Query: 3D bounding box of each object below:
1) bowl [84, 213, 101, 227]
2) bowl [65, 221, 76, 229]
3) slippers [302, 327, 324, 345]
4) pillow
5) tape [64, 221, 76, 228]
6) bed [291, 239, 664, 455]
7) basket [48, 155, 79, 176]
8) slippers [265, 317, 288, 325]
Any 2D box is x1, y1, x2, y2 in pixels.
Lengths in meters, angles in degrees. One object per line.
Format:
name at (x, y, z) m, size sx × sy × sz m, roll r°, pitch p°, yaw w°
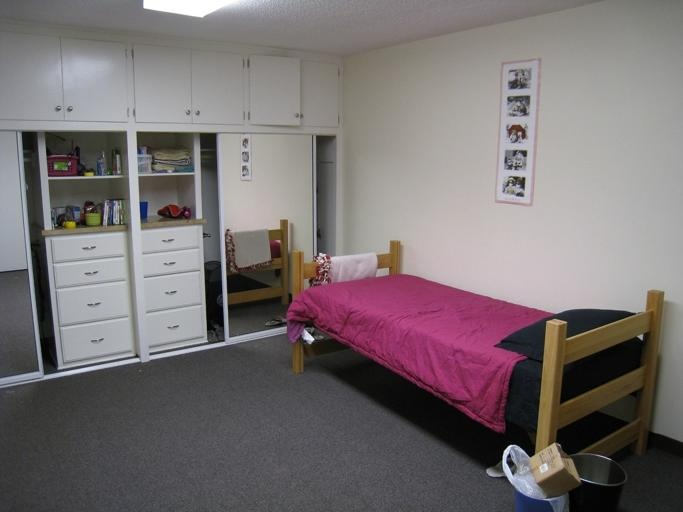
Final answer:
bowl at (-2.279, -0.332, 4.446) m, size 0.116 × 0.110 × 0.130 m, roll 0°, pitch 9°, yaw 9°
bowl at (-2.424, -0.274, 4.321) m, size 0.063 × 0.044 × 0.065 m, roll 1°, pitch 2°, yaw 0°
slippers at (-0.313, 0.739, 4.401) m, size 0.124 × 0.080 × 0.212 m, roll 3°, pitch 7°, yaw -33°
pillow at (1.390, 0.459, 3.059) m, size 0.816 × 0.196 × 0.363 m, roll -8°, pitch 13°, yaw -24°
tape at (-2.430, -0.280, 4.327) m, size 0.059 × 0.041 × 0.061 m, roll 2°, pitch 3°, yaw 32°
bed at (0.782, 0.628, 3.874) m, size 1.469 × 1.222 × 2.707 m, roll -12°, pitch 15°, yaw -37°
basket at (-2.471, -0.783, 4.320) m, size 0.197 × 0.153 × 0.204 m, roll -3°, pitch 11°, yaw -17°
slippers at (-0.719, 0.717, 5.299) m, size 0.266 × 0.112 × 0.092 m, roll -1°, pitch 5°, yaw -28°
